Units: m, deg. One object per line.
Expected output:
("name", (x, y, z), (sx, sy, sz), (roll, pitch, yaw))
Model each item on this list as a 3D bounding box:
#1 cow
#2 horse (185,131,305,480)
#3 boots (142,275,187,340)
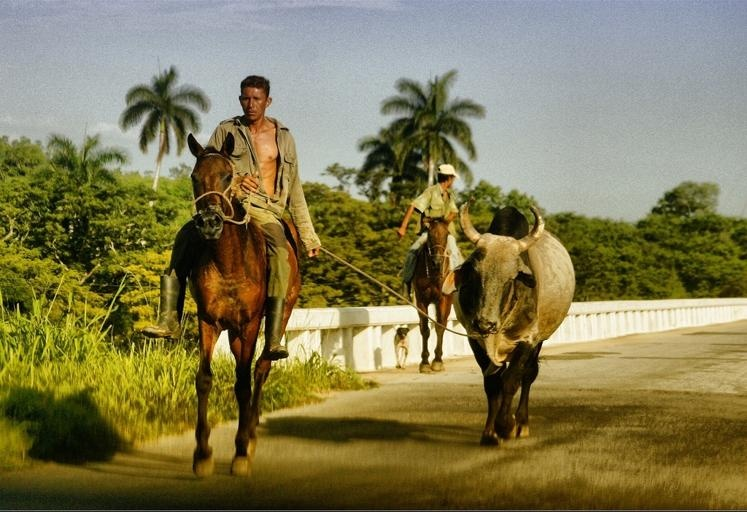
("cow", (1.820, 0.874, 11.871), (1.245, 3.172, 2.181), (-3, -8, 26))
("horse", (-1.725, 0.600, 10.853), (0.974, 3.975, 1.937), (-1, -7, 12))
("boots", (-2.611, 0.589, 10.822), (0.341, 0.783, 0.663), (-2, -7, 17))
